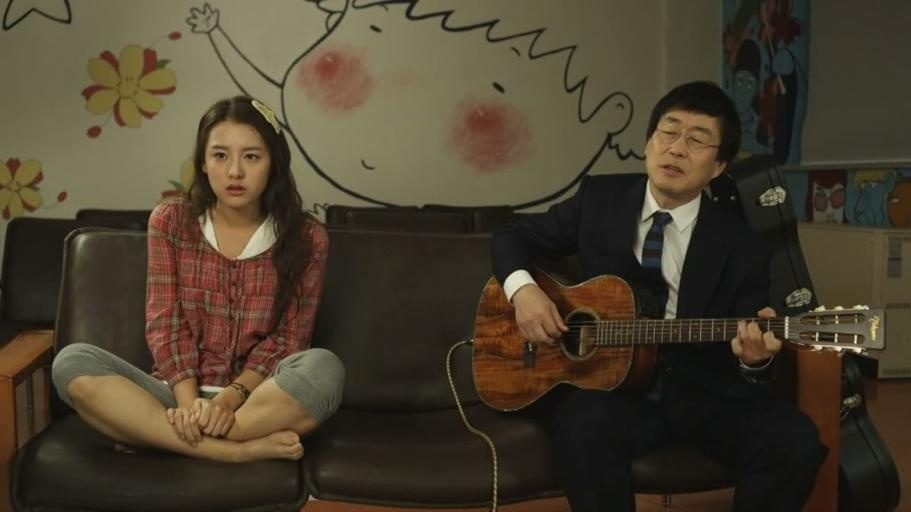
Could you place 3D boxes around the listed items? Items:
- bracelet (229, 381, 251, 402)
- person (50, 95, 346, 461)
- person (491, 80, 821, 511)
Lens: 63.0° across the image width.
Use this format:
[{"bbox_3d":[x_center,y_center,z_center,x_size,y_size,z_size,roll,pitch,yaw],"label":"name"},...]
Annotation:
[{"bbox_3d":[-0.932,0.588,3.249,0.093,0.033,0.068,28,-14,-13],"label":"bracelet"},{"bbox_3d":[-1.076,0.078,3.214,1.058,1.450,1.201,5,3,43],"label":"person"},{"bbox_3d":[0.906,0.158,3.290,1.370,1.825,0.552,4,4,0],"label":"person"}]
